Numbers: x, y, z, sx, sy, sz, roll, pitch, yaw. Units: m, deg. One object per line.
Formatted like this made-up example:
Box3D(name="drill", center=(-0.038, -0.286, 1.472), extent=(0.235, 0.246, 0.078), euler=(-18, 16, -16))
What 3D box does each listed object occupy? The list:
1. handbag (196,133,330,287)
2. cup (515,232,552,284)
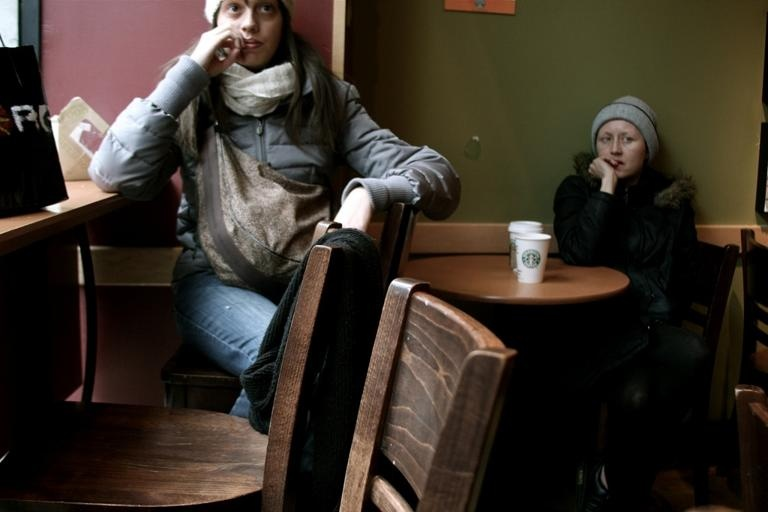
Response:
Box3D(name="handbag", center=(-0.437, -0.137, 2.136), extent=(0.425, 0.515, 0.200), euler=(16, -6, -5))
Box3D(name="cup", center=(0.533, 0.006, 2.221), extent=(0.149, 0.188, 0.151), euler=(2, -3, 0))
